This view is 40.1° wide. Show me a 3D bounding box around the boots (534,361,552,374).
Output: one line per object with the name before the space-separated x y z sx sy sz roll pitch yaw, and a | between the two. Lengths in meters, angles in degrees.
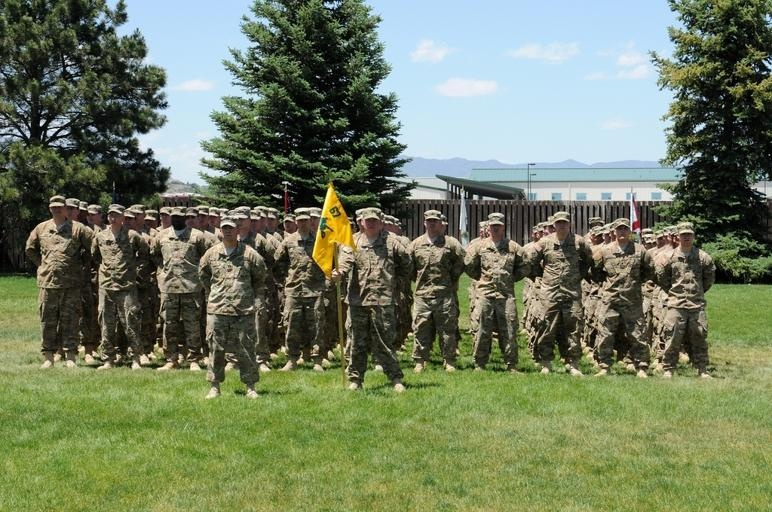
boots | 4.176 2.951 28.082 0.334 0.274 0.552 -1 0 6

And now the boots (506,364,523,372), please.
boots | 3.377 2.956 27.983 0.232 0.225 0.253 -5 -3 39

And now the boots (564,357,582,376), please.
boots | 4.921 2.873 27.930 0.389 0.422 0.317 -1 -1 10

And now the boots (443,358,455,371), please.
boots | 1.676 2.879 28.115 0.290 0.292 0.287 -1 2 20

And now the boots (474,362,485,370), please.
boots | 2.447 2.908 28.104 0.170 0.212 0.224 4 -3 -40

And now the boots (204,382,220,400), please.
boots | -4.216 3.308 25.961 0.376 0.328 0.605 0 -1 -7

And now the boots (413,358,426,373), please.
boots | 0.891 2.914 28.083 0.287 0.464 0.350 6 -13 -4

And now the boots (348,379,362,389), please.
boots | -0.771 3.246 26.514 0.143 0.250 0.390 -5 -14 33
